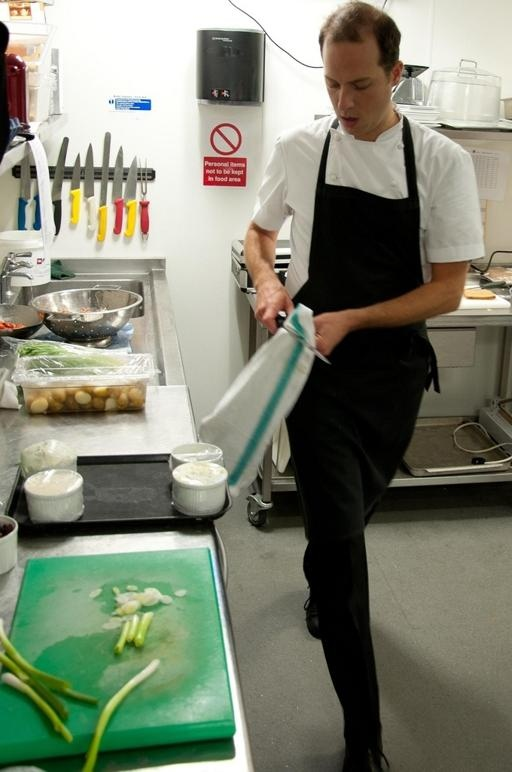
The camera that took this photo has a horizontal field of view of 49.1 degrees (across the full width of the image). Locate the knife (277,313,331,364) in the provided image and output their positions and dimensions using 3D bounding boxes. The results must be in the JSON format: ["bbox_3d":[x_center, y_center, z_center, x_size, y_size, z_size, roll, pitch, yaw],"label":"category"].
[{"bbox_3d":[0.103,-0.103,1.204,0.042,0.022,0.158,-20,49,-36],"label":"knife"}]

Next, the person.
[{"bbox_3d":[0.193,0.018,1.577,0.681,1.883,0.642,10,14,23],"label":"person"}]

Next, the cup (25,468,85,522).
[{"bbox_3d":[-0.327,0.167,0.915,0.076,0.050,0.078,1,20,0],"label":"cup"}]

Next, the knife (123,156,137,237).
[{"bbox_3d":[-0.630,-0.945,2.847,0.069,0.397,0.075,2,13,-13],"label":"knife"}]

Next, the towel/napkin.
[{"bbox_3d":[0.016,0.006,1.122,0.150,0.323,0.386,12,15,27],"label":"towel/napkin"}]

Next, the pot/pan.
[{"bbox_3d":[0.980,-1.361,2.641,0.318,0.231,0.323,10,31,13],"label":"pot/pan"}]

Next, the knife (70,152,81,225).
[{"bbox_3d":[-0.893,-0.965,2.786,0.051,0.339,0.071,1,13,-18],"label":"knife"}]

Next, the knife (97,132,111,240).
[{"bbox_3d":[-0.759,-0.986,2.809,0.062,0.575,0.031,-10,20,-41],"label":"knife"}]

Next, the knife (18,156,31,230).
[{"bbox_3d":[-1.075,-0.896,2.609,0.061,0.324,0.151,0,14,-22],"label":"knife"}]

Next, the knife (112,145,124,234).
[{"bbox_3d":[-0.691,-0.975,2.826,0.059,0.432,0.059,2,13,-15],"label":"knife"}]

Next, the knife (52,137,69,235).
[{"bbox_3d":[-0.952,-0.965,2.746,0.078,0.474,0.021,2,4,1],"label":"knife"}]

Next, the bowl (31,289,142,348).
[{"bbox_3d":[-0.584,-0.245,1.936,0.340,0.153,0.467,1,14,-15],"label":"bowl"}]

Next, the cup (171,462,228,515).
[{"bbox_3d":[-0.095,0.159,0.942,0.079,0.057,0.079,3,33,-2],"label":"cup"}]
